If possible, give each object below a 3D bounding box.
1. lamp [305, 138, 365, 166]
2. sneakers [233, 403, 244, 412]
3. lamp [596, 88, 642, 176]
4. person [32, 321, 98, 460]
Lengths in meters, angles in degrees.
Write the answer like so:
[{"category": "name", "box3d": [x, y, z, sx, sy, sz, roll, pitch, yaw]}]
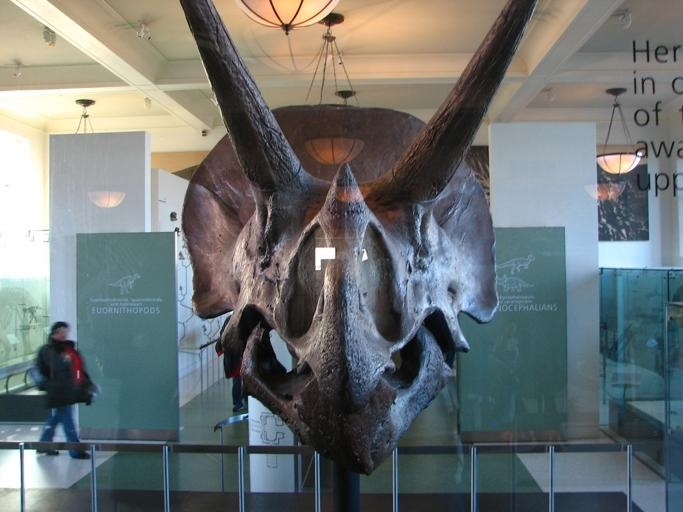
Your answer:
[{"category": "lamp", "box3d": [-0.034, -0.451, 2.671, 0.189, 0.073, 0.196, 0, 2, 9]}, {"category": "sneakers", "box3d": [-0.770, 1.141, 4.720, 0.036, 0.052, 0.111, 3, 4, 13]}, {"category": "lamp", "box3d": [1.560, -0.660, 3.492, 0.222, 0.402, 0.195, -1, -3, -11]}, {"category": "person", "box3d": [-1.928, 0.888, 4.418, 0.395, 0.866, 0.251, 0, -3, -24]}]
